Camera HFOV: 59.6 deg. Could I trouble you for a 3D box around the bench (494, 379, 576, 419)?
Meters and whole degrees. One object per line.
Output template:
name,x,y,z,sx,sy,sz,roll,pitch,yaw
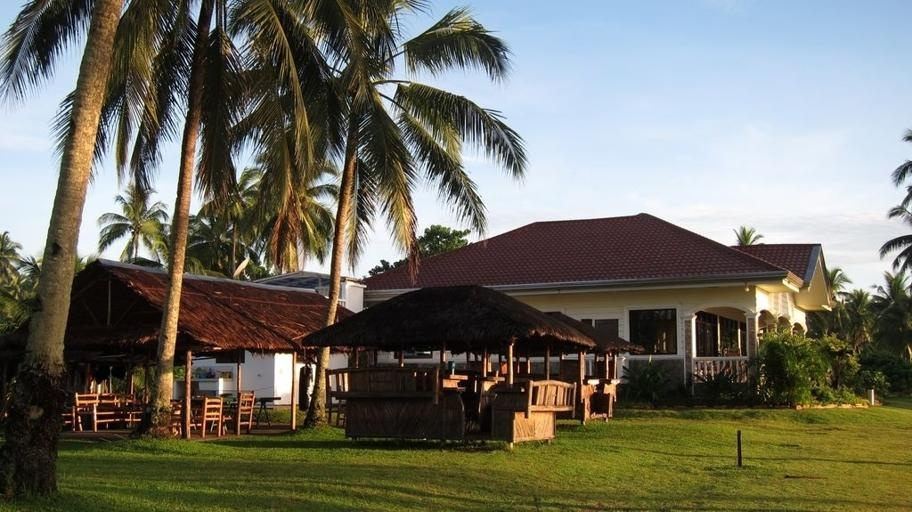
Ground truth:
bench,2.364,4.236,23.922,0.868,1.022,2.907,-9,-15,42
